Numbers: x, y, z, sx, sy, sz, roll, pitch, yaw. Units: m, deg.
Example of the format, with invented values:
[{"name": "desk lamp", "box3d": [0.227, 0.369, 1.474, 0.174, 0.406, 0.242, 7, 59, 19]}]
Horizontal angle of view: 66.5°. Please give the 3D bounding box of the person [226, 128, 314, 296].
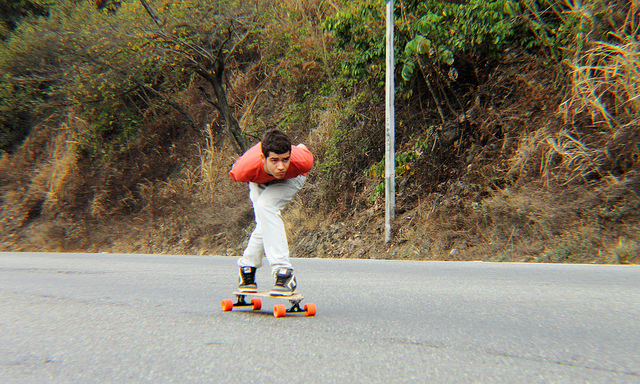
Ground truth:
[{"name": "person", "box3d": [-0.782, 0.300, 7.852, 1.265, 2.595, 1.051, -2, 12, -10]}]
